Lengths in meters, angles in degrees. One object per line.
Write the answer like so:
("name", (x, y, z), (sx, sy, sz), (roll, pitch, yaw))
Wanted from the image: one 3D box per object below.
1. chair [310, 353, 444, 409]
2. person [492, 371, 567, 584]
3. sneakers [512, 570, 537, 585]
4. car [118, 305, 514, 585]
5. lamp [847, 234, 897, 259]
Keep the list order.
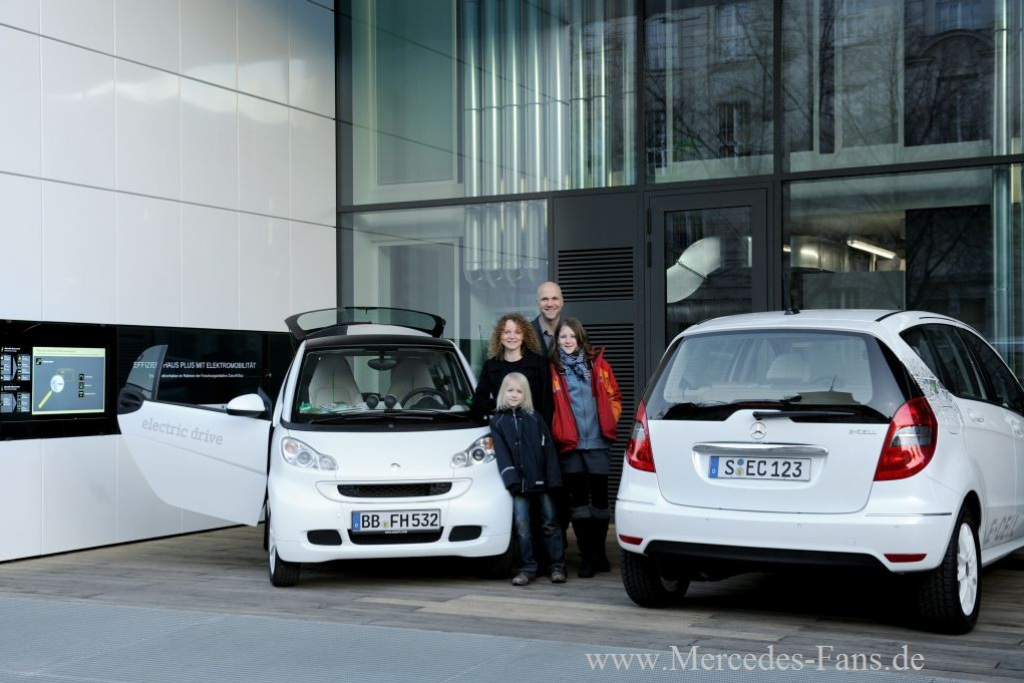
("chair", (-1.181, 0.408, 7.820), (0.759, 0.380, 0.562), (-1, -5, 0))
("person", (0.121, 1.090, 7.331), (0.547, 1.670, 0.392), (-3, 5, -3))
("sneakers", (0.080, 1.877, 7.246), (0.075, 0.093, 0.211), (-3, -13, 13))
("car", (-1.540, 0.512, 7.950), (2.660, 1.356, 2.244), (2, -8, -17))
("lamp", (3.540, -0.926, 9.089), (0.440, 0.226, 0.075), (-1, 5, 21))
